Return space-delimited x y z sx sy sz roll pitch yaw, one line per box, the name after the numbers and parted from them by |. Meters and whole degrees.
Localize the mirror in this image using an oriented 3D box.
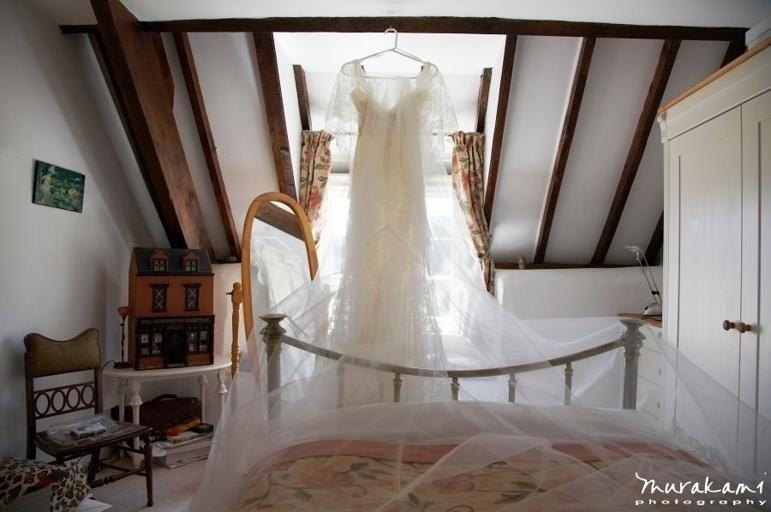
-1.029 0.586 4.769 0.676 2.705 0.072 -1 33 -9 | mirror

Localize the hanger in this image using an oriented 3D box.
0.059 -1.898 4.563 0.861 0.545 0.031 6 -9 9 | hanger

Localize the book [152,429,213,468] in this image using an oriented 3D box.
-1.703 1.615 4.009 0.418 0.128 0.423 -7 -8 39 | book

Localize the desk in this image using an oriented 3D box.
-1.784 1.280 3.852 0.952 0.685 0.518 -3 7 -43 | desk

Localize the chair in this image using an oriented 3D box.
-2.244 1.165 3.589 0.744 1.247 1.001 -3 4 -38 | chair
